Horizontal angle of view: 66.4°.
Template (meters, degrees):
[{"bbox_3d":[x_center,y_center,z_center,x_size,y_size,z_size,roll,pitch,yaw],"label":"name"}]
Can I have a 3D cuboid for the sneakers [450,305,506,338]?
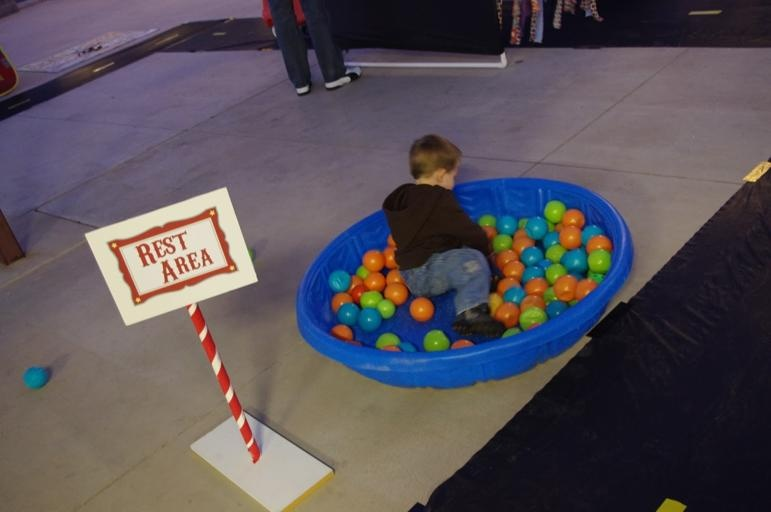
[{"bbox_3d":[0.558,0.406,3.552,0.315,0.165,0.156,8,40,-5],"label":"sneakers"}]

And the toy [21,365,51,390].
[{"bbox_3d":[-2.314,0.795,3.909,0.139,0.091,0.158,2,26,-9],"label":"toy"}]
